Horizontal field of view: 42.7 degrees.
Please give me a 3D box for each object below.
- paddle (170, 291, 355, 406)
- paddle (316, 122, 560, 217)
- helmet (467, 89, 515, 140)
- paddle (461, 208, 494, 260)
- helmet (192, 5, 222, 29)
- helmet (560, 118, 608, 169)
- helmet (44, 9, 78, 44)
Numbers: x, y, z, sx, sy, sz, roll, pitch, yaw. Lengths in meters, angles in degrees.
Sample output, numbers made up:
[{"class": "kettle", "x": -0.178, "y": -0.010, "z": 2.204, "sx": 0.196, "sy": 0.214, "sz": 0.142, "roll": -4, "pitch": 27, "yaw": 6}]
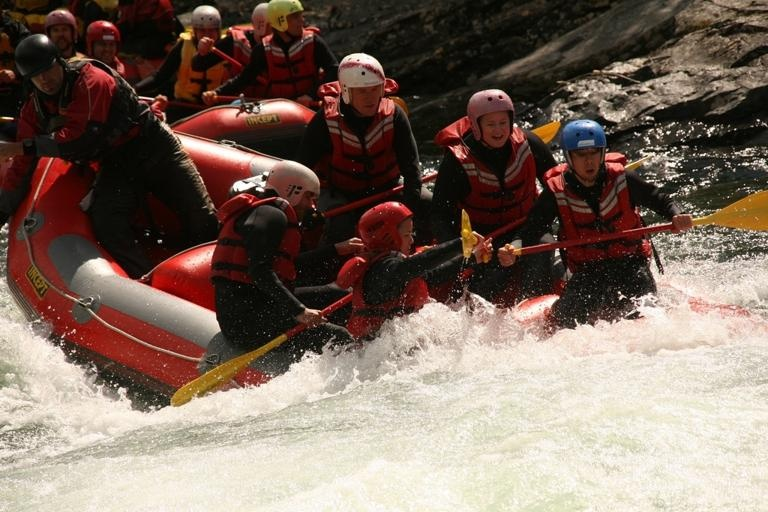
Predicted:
[{"class": "paddle", "x": -0.877, "y": 0.740, "z": 7.616, "sx": 1.873, "sy": 0.151, "sz": 0.116, "roll": -26, "pitch": -9, "yaw": 2}, {"class": "paddle", "x": 0.422, "y": -0.738, "z": 8.602, "sx": 1.911, "sy": 0.304, "sz": 0.097, "roll": -26, "pitch": 26, "yaw": 1}, {"class": "helmet", "x": 0.833, "y": -1.177, "z": 8.258, "sx": 0.375, "sy": 0.358, "sz": 0.438, "roll": 0, "pitch": -11, "yaw": -16}, {"class": "paddle", "x": 0.706, "y": -0.114, "z": 7.550, "sx": 0.216, "sy": 0.537, "sz": 0.292, "roll": 4, "pitch": 36, "yaw": 13}, {"class": "helmet", "x": -2.058, "y": -2.719, "z": 11.472, "sx": 0.301, "sy": 0.264, "sz": 0.368, "roll": -2, "pitch": -16, "yaw": -7}, {"class": "helmet", "x": 1.570, "y": -0.917, "z": 7.777, "sx": 0.330, "sy": 0.302, "sz": 0.268, "roll": -1, "pitch": 34, "yaw": 6}, {"class": "helmet", "x": -3.401, "y": -2.480, "z": 10.562, "sx": 0.352, "sy": 0.347, "sz": 0.417, "roll": 2, "pitch": 28, "yaw": 1}]
